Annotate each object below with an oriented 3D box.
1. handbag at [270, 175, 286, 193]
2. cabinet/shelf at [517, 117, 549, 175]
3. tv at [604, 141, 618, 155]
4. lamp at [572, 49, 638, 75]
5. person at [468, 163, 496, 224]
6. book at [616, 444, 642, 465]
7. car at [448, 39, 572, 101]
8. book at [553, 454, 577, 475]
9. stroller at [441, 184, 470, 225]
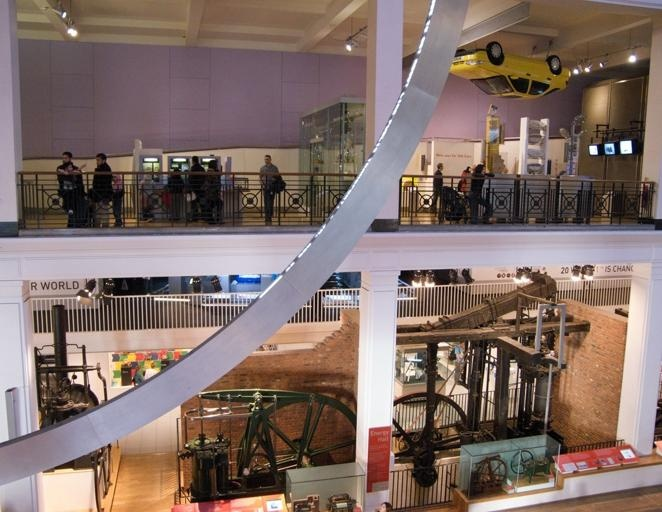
[{"bbox_3d":[-1.097,-1.525,13.120,0.361,0.201,0.526,-1,9,-2],"label":"handbag"},{"bbox_3d":[5.427,-2.945,16.401,1.159,1.533,0.617,-6,7,-40],"label":"cabinet/shelf"},{"bbox_3d":[9.367,-3.597,20.407,0.203,0.423,0.381,-1,-17,-8],"label":"tv"},{"bbox_3d":[8.839,-6.291,19.749,1.195,0.357,1.320,0,-4,-41],"label":"lamp"},{"bbox_3d":[3.435,-1.495,14.004,0.509,1.351,3.216,-1,5,14],"label":"person"},{"bbox_3d":[6.440,4.282,13.216,0.330,0.113,0.345,-3,22,-4],"label":"book"},{"bbox_3d":[4.713,-5.000,16.381,3.326,1.248,1.115,-5,6,-30],"label":"car"},{"bbox_3d":[4.978,4.424,12.912,0.368,0.112,0.410,-1,30,-3],"label":"book"},{"bbox_3d":[2.898,-1.177,14.211,0.541,0.645,1.064,-3,-14,7],"label":"stroller"}]
